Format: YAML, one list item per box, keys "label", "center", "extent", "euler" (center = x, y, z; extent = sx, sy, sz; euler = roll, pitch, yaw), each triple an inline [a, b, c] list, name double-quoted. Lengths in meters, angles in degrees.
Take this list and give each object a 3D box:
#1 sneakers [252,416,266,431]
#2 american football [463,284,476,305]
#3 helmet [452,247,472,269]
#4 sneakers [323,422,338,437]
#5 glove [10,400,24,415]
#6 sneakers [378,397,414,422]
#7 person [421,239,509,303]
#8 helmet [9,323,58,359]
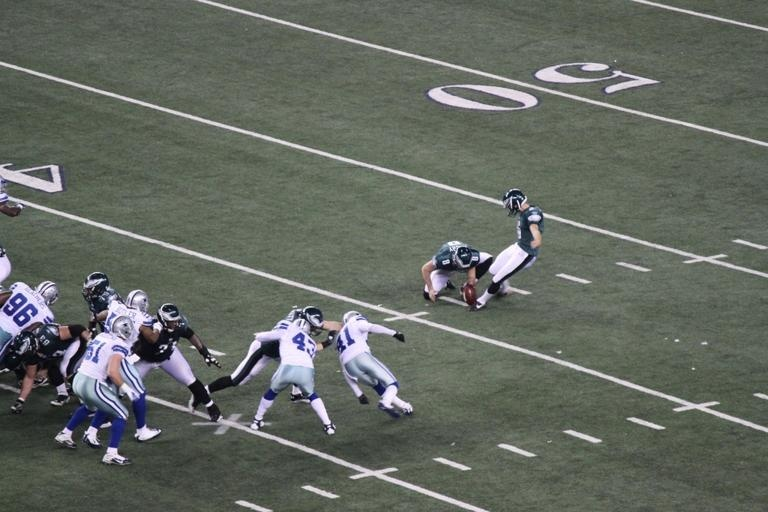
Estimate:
- label: "sneakers"
  center: [-1.859, 2.491, 24.399]
  extent: [0.188, 0.223, 0.272]
  euler: [15, 13, -3]
- label: "american football"
  center: [1.406, 0.651, 26.981]
  extent: [0.269, 0.265, 0.241]
  euler: [-14, -23, -12]
- label: "helmet"
  center: [1.267, 0.054, 27.142]
  extent: [0.385, 0.326, 0.378]
  euler: [-3, -15, -1]
- label: "sneakers"
  center: [-0.791, 2.598, 24.274]
  extent: [0.343, 0.156, 0.453]
  euler: [0, -2, -7]
- label: "glove"
  center: [-5.428, 2.245, 24.427]
  extent: [0.178, 0.223, 0.202]
  euler: [14, 14, -10]
- label: "sneakers"
  center: [0.147, 2.337, 24.647]
  extent: [0.488, 0.159, 0.301]
  euler: [6, 6, -36]
- label: "person"
  center: [1.156, 0.208, 27.315]
  extent: [1.106, 0.676, 1.243]
  euler: [9, 26, 37]
- label: "helmet"
  center: [-5.092, 1.316, 24.495]
  extent: [0.485, 0.443, 0.652]
  euler: [41, 57, 18]
